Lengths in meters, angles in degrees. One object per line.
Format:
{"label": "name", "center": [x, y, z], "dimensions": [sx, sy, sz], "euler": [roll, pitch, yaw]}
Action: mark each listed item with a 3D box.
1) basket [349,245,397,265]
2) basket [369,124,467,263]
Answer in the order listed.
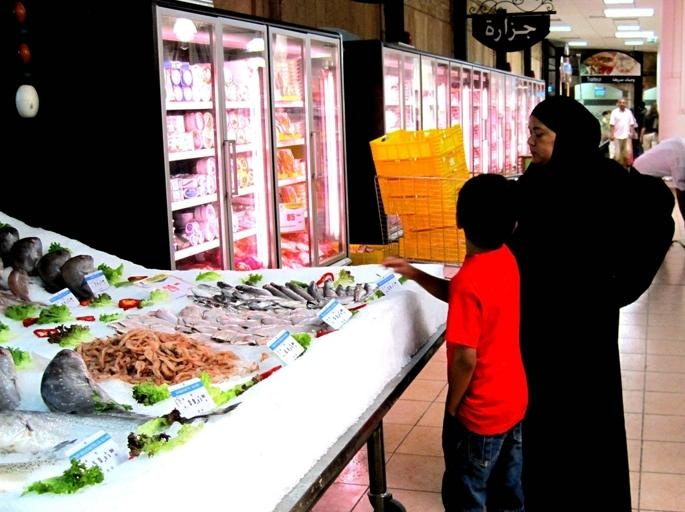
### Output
{"label": "basket", "center": [0.314, -0.021, 6.222], "dimensions": [0.348, 0.176, 0.328], "euler": [-1, -1, 18]}
{"label": "basket", "center": [0.727, -0.600, 4.948], "dimensions": [0.964, 1.345, 1.534], "euler": [-9, 13, 23]}
